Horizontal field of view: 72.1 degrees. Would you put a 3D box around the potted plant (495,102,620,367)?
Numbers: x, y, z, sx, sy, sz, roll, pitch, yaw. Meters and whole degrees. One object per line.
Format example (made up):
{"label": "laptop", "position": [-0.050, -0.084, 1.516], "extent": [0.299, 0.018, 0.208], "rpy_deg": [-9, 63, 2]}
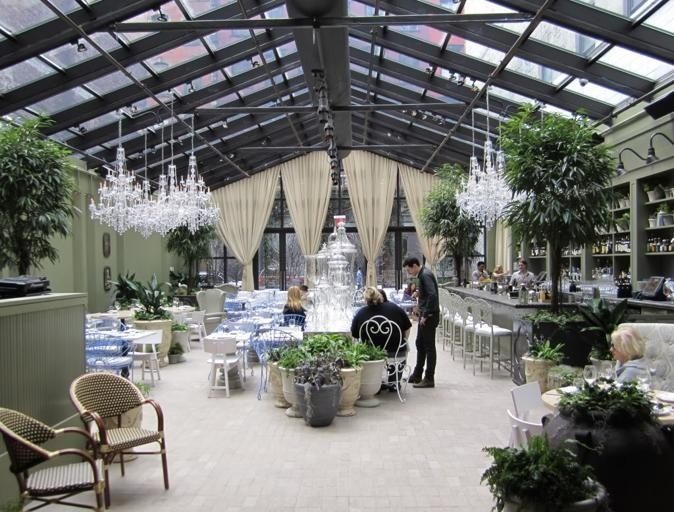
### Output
{"label": "potted plant", "position": [2.871, -0.655, 6.123], "extent": [1.359, 2.864, 0.797], "rpy_deg": [1, 1, 27]}

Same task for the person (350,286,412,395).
{"label": "person", "position": [0.586, 1.130, 6.383], "extent": [0.842, 1.355, 0.820], "rpy_deg": [-2, 0, 11]}

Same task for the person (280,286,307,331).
{"label": "person", "position": [-0.691, 0.917, 7.453], "extent": [0.347, 0.892, 0.256], "rpy_deg": [3, 13, -6]}

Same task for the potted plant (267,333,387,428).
{"label": "potted plant", "position": [-0.074, 1.406, 5.371], "extent": [1.115, 0.905, 0.759], "rpy_deg": [0, 1, -44]}

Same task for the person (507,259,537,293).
{"label": "person", "position": [4.071, 0.436, 10.099], "extent": [0.684, 0.910, 0.563], "rpy_deg": [-2, 1, 26]}

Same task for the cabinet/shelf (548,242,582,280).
{"label": "cabinet/shelf", "position": [4.077, 0.100, 8.172], "extent": [0.256, 0.727, 0.795], "rpy_deg": [0, 0, -39]}

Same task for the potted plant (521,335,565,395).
{"label": "potted plant", "position": [2.634, 1.453, 5.847], "extent": [0.440, 0.591, 0.413], "rpy_deg": [3, -2, 30]}

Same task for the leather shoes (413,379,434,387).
{"label": "leather shoes", "position": [1.254, 1.835, 6.666], "extent": [0.340, 0.136, 0.110], "rpy_deg": [3, -3, -5]}
